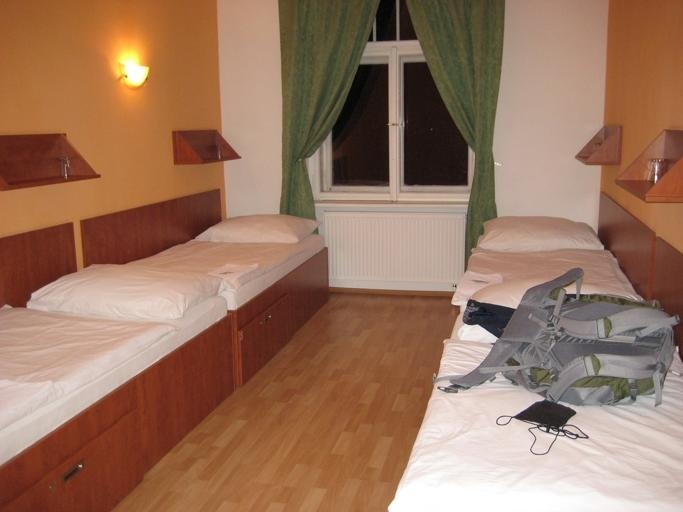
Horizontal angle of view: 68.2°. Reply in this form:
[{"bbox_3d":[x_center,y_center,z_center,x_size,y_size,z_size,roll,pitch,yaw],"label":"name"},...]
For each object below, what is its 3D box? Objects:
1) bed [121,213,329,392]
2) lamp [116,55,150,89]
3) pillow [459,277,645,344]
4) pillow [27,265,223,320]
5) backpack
[{"bbox_3d":[-0.906,0.036,4.026,0.991,0.833,2.004,3,15,13],"label":"bed"},{"bbox_3d":[-1.585,-1.416,3.901,0.116,0.226,0.363,0,14,5],"label":"lamp"},{"bbox_3d":[0.949,0.308,2.611,0.613,0.206,0.472,-9,3,19],"label":"pillow"},{"bbox_3d":[-1.209,0.186,2.948,0.476,0.126,0.489,8,11,12],"label":"pillow"},{"bbox_3d":[0.947,0.365,2.105,0.685,0.311,0.656,8,34,18],"label":"backpack"}]
